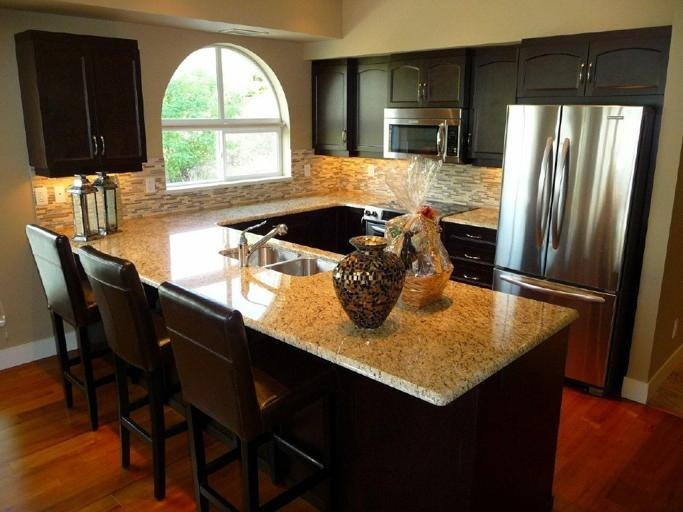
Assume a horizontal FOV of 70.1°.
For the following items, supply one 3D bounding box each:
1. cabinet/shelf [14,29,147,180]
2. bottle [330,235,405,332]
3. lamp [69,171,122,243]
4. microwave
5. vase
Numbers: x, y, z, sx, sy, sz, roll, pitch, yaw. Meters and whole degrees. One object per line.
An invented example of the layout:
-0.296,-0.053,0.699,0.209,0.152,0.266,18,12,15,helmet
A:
-2.088,-1.181,3.813,0.492,1.246,0.955,15,21,38,cabinet/shelf
0.136,0.141,2.221,0.265,0.400,0.283,0,19,0,bottle
-1.953,-0.378,3.856,0.214,0.614,0.455,12,19,31,lamp
0.825,-1.153,4.609,0.897,0.581,0.490,11,16,39,microwave
0.074,0.110,2.291,0.345,0.413,0.360,-1,9,-5,vase
